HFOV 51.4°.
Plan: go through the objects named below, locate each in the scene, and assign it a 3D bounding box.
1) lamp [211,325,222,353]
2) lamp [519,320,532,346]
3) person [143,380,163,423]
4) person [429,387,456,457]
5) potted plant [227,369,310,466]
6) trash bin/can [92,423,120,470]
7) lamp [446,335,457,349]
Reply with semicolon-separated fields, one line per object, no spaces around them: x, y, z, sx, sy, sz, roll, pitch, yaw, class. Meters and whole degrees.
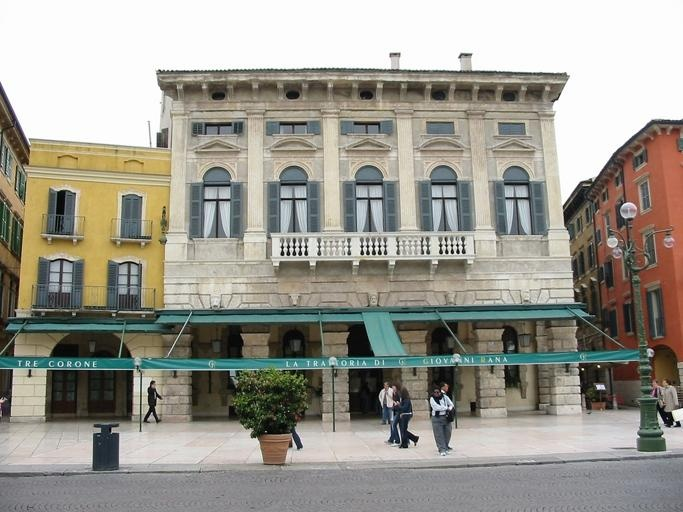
-6.312;4.212;36.020;0.537;1.464;1.340;0;-14;-9;lamp
9.368;3.988;36.138;0.735;1.337;0.555;-5;-15;14;lamp
-8.757;6.703;32.932;0.752;1.947;1.366;2;-14;-14;person
3.237;5.266;22.813;0.663;2.157;0.919;-3;-14;6;person
-2.129;4.751;21.193;2.023;2.853;0.887;0;-14;-9;potted plant
-6.791;5.497;20.461;0.742;1.298;0.548;2;-15;-17;trash bin/can
5.689;4.483;36.833;0.128;0.707;0.538;11;-19;-42;lamp
